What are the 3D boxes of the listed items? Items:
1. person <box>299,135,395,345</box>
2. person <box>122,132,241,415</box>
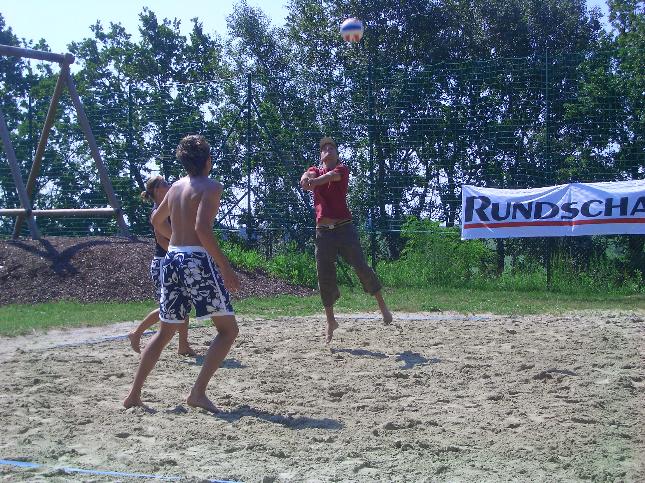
[{"bbox_3d":[0.241,-0.046,11.821,1.077,2.904,0.704,-2,1,-2],"label":"person"},{"bbox_3d":[-1.541,0.383,9.541,1.190,3.186,0.447,-2,1,1],"label":"person"}]
